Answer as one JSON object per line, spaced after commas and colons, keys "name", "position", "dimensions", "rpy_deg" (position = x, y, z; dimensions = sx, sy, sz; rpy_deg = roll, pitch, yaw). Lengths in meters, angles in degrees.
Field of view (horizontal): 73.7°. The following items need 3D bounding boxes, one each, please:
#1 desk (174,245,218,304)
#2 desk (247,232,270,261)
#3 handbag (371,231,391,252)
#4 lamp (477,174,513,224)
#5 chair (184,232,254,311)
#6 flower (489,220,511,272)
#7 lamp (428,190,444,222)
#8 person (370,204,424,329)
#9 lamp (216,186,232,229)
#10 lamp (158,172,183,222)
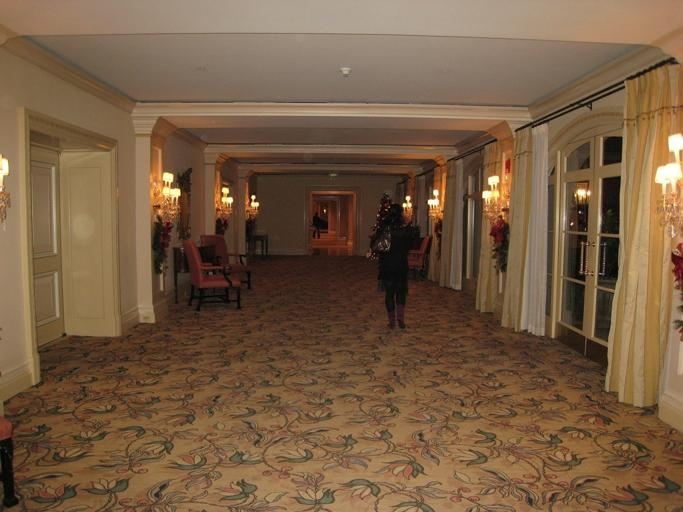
{"name": "desk", "position": [-2.914, 0.385, 9.990], "dimensions": [0.931, 1.147, 0.920], "rpy_deg": [-9, 5, -7]}
{"name": "desk", "position": [-3.499, -0.377, 19.352], "dimensions": [0.855, 1.153, 1.455], "rpy_deg": [0, 15, 3]}
{"name": "handbag", "position": [0.628, -0.209, 7.089], "dimensions": [0.329, 0.323, 0.142], "rpy_deg": [2, -1, 29]}
{"name": "lamp", "position": [2.858, -1.090, 8.494], "dimensions": [0.422, 0.833, 0.708], "rpy_deg": [1, 7, 9]}
{"name": "chair", "position": [-2.662, 0.362, 9.546], "dimensions": [1.568, 1.722, 1.320], "rpy_deg": [-2, 12, -13]}
{"name": "flower", "position": [2.822, -0.194, 8.158], "dimensions": [0.300, 0.956, 0.649], "rpy_deg": [3, 7, 18]}
{"name": "lamp", "position": [2.690, -1.446, 13.058], "dimensions": [0.338, 0.900, 1.073], "rpy_deg": [2, 7, 10]}
{"name": "person", "position": [0.859, 0.179, 7.461], "dimensions": [0.707, 2.056, 0.810], "rpy_deg": [1, 7, 7]}
{"name": "lamp", "position": [-3.465, -1.477, 13.523], "dimensions": [0.417, 1.324, 1.853], "rpy_deg": [-1, 7, -13]}
{"name": "lamp", "position": [-3.267, -1.091, 8.730], "dimensions": [0.330, 0.998, 1.509], "rpy_deg": [-2, 7, -19]}
